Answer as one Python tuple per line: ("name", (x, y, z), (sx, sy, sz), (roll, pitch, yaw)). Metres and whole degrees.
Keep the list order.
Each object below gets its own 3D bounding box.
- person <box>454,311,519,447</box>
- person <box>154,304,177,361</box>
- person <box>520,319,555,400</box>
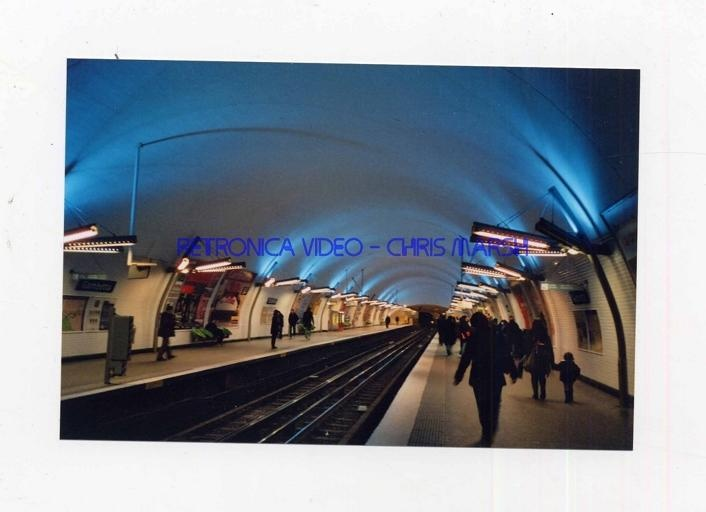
("person", (1.796, 1.670, 6.075), (0.801, 1.761, 0.328), (-4, -11, 18))
("person", (-2.624, 1.107, 6.376), (0.228, 0.764, 0.136), (3, -11, -17))
("person", (2.484, 1.395, 6.080), (0.412, 1.088, 0.107), (1, -11, -8))
